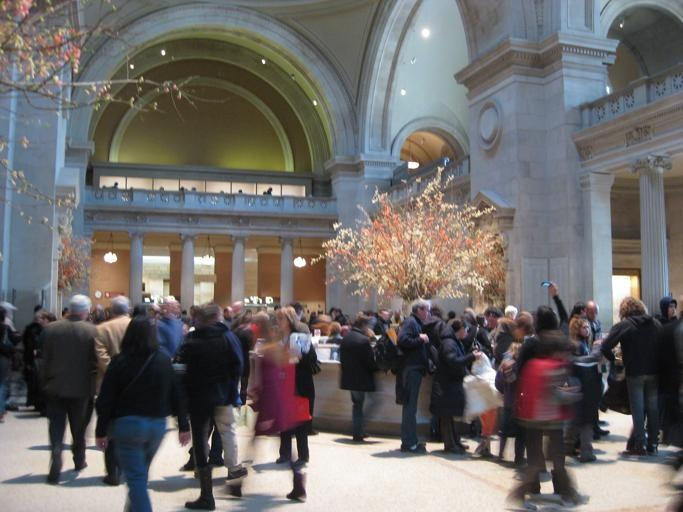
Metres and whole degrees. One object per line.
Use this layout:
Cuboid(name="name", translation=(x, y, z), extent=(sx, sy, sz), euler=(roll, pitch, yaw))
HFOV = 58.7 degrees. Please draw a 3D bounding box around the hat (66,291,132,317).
Cuboid(name="hat", translation=(-3.364, 0.659, 8.219), extent=(0.543, 0.240, 0.541), euler=(3, -7, -25))
